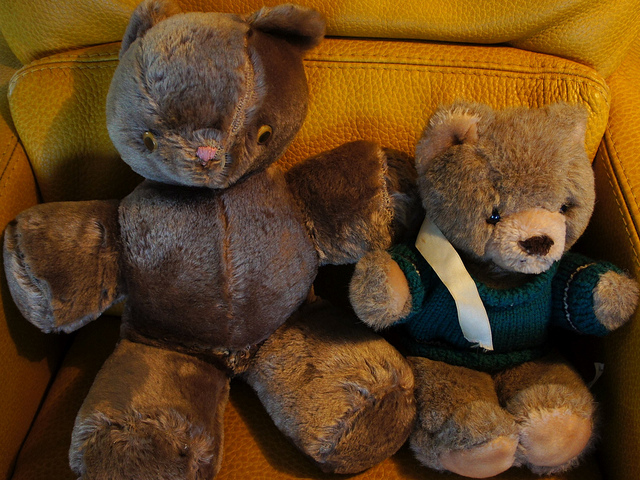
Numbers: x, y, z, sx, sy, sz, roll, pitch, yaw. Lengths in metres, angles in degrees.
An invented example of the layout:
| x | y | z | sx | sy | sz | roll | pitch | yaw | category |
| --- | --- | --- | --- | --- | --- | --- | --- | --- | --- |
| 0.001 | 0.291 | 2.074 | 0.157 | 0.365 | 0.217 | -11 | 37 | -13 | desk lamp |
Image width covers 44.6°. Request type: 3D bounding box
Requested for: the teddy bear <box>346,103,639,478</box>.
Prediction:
| x | y | z | sx | sy | sz | roll | pitch | yaw | category |
| --- | --- | --- | --- | --- | --- | --- | --- | --- | --- |
| 0.276 | 0.097 | 1.246 | 0.431 | 0.544 | 0.338 | -4 | 30 | -7 | teddy bear |

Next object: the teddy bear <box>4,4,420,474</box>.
| x | y | z | sx | sy | sz | roll | pitch | yaw | category |
| --- | --- | --- | --- | --- | --- | --- | --- | --- | --- |
| -0.158 | 0.043 | 1.217 | 0.661 | 0.582 | 0.571 | -11 | 53 | -12 | teddy bear |
